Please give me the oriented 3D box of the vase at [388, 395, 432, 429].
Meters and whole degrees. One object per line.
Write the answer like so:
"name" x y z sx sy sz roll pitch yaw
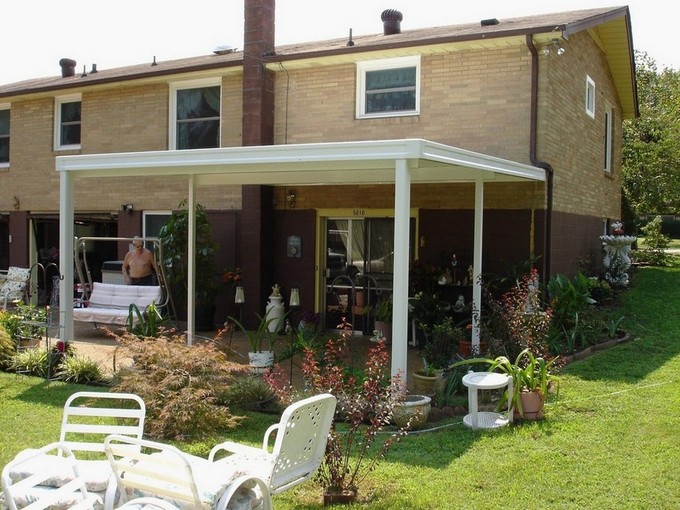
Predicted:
"vase" 0.913 2.075 8.495 0.459 0.415 0.511 -2 -4 24

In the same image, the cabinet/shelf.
"cabinet/shelf" -5.074 1.578 10.927 0.974 1.027 0.327 -2 -5 39

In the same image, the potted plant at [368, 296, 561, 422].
"potted plant" 2.199 1.400 8.992 1.783 1.546 1.444 -4 1 4
